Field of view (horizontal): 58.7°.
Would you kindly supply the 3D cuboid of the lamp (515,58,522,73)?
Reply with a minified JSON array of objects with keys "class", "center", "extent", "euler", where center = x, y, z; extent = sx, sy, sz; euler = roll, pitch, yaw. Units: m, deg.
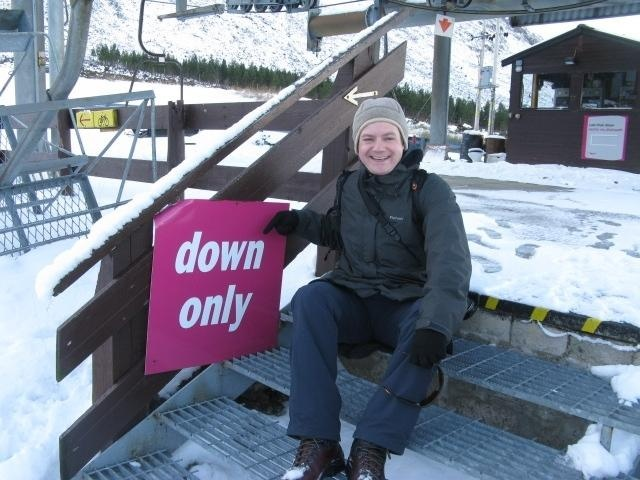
[{"class":"lamp","center":[4.920,-4.259,14.036],"extent":[0.162,0.247,0.225],"euler":[5,5,38]}]

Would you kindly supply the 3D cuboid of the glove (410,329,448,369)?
[{"class":"glove","center":[0.598,0.597,3.126],"extent":[0.136,0.179,0.218],"euler":[3,-5,-3]}]

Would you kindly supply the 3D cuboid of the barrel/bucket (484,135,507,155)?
[{"class":"barrel/bucket","center":[5.901,-3.179,19.119],"extent":[0.670,0.539,1.132],"euler":[9,16,15]}]

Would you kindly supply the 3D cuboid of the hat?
[{"class":"hat","center":[0.414,-0.747,3.863],"extent":[0.302,0.349,0.351],"euler":[-3,2,4]}]

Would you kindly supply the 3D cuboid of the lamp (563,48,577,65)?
[{"class":"lamp","center":[5.804,-4.189,13.168],"extent":[0.141,0.363,0.250],"euler":[-6,18,-34]}]
